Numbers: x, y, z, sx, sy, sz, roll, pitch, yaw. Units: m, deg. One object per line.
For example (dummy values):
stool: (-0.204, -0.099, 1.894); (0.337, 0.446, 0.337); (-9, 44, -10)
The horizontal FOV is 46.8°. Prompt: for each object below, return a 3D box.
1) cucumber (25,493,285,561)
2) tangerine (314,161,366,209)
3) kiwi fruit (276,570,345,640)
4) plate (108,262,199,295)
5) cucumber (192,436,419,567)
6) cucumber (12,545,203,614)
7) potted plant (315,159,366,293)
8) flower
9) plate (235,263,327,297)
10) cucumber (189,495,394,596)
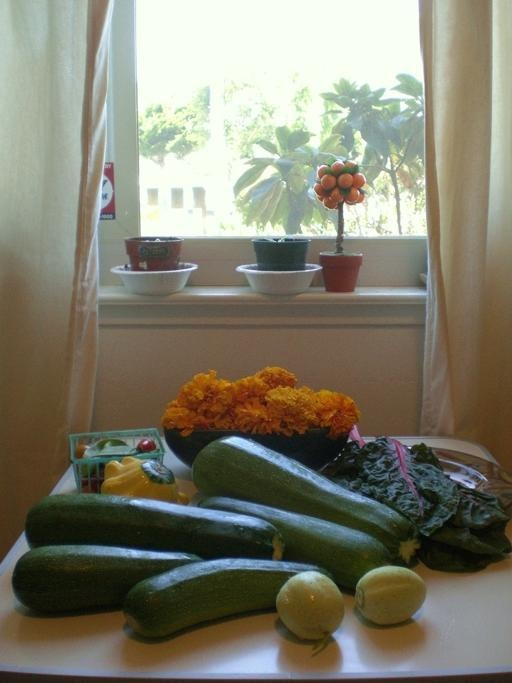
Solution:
cucumber: (-0.126, 0.237, 0.719); (0.289, 0.078, 0.084); (9, -27, -2)
tangerine: (0.245, -0.432, 1.630); (0.152, 0.124, 0.110); (-11, 14, -39)
kiwi fruit: (0.059, 0.264, 0.596); (0.066, 0.066, 0.068); (25, -13, -38)
plate: (-0.273, -0.183, 1.612); (0.231, 0.088, 0.178); (-1, 11, -8)
cucumber: (0.052, 0.206, 0.801); (0.280, 0.078, 0.083); (15, 13, 15)
cucumber: (-0.150, 0.255, 0.670); (0.213, 0.071, 0.075); (1, 41, 0)
potted plant: (0.241, -0.324, 1.671); (0.143, 0.361, 0.153); (-1, 5, 0)
flower: (0.003, 0.065, 0.923); (0.244, 0.116, 0.172); (-8, 12, -28)
plate: (0.066, -0.176, 1.600); (0.233, 0.087, 0.159); (-4, 11, -28)
cucumber: (0.039, 0.229, 0.737); (0.249, 0.067, 0.071); (12, 47, 22)
